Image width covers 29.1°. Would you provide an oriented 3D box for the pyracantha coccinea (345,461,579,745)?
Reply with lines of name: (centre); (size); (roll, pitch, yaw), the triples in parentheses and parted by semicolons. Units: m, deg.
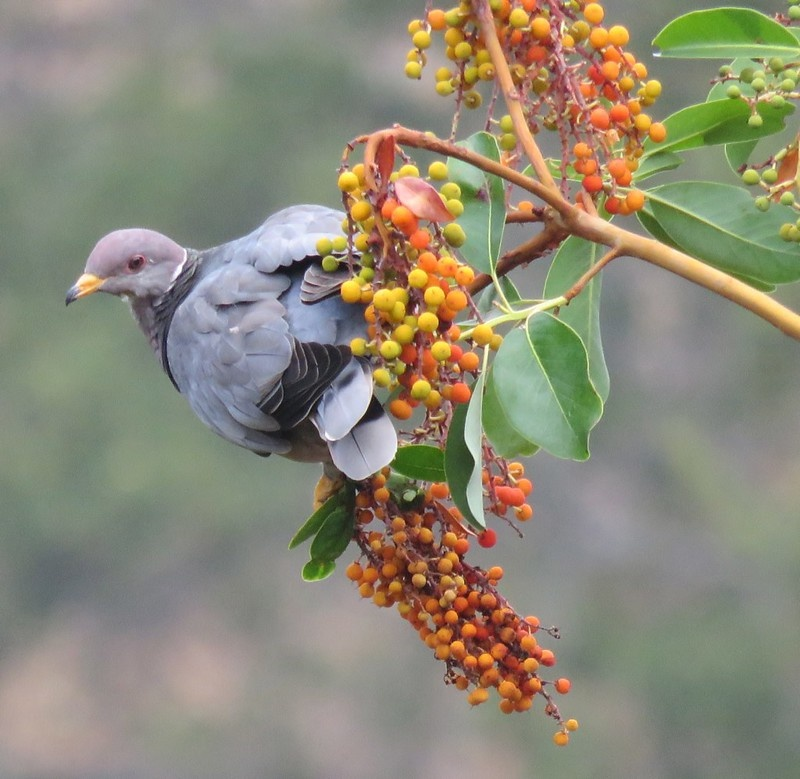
pyracantha coccinea: (0.056, 0.189, 1.561); (0.345, 0.104, 0.131); (55, 30, 14)
